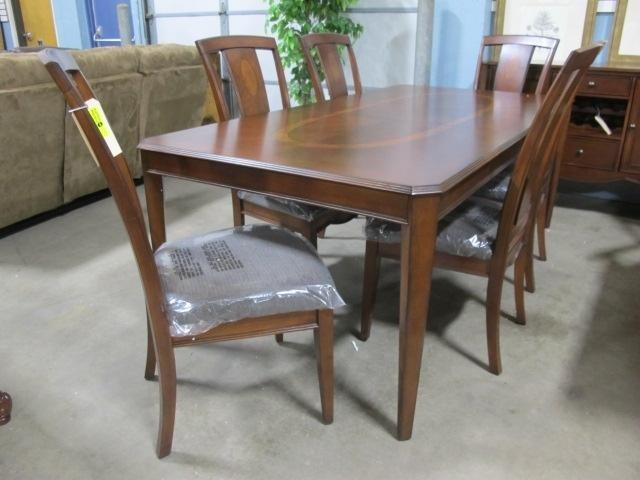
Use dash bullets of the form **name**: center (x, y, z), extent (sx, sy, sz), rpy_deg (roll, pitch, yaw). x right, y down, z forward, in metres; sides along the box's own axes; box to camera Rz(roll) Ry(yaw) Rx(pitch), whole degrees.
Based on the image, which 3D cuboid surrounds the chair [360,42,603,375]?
- **chair**: center (0.666, -0.383, 2.628), extent (1.254, 1.815, 1.086), rpy_deg (14, 34, 26)
